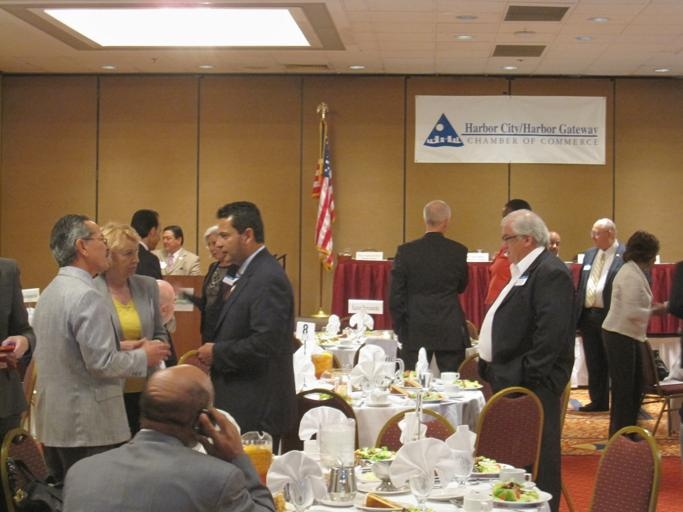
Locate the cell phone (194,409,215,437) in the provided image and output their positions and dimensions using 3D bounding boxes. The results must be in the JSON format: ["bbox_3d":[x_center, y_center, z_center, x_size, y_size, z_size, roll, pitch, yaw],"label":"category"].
[{"bbox_3d":[-0.552,0.675,2.954,0.076,0.107,0.062,-8,-14,2],"label":"cell phone"}]

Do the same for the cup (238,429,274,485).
[{"bbox_3d":[-0.408,0.968,3.524,0.150,0.222,0.355,2,-3,-7],"label":"cup"}]

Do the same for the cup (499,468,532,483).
[{"bbox_3d":[0.900,1.109,3.723,0.137,0.102,0.099,3,-2,12],"label":"cup"}]

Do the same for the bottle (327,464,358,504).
[{"bbox_3d":[0.007,1.100,3.505,0.122,0.164,0.163,2,-15,-4],"label":"bottle"}]

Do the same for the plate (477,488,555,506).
[{"bbox_3d":[0.860,1.168,3.562,0.350,0.089,0.177,3,-4,-13],"label":"plate"}]

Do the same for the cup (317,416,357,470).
[{"bbox_3d":[-0.012,0.957,3.697,0.196,0.231,0.203,0,-5,0],"label":"cup"}]

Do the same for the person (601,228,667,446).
[{"bbox_3d":[2.772,0.751,6.990,0.487,1.984,0.358,1,-2,12],"label":"person"}]
